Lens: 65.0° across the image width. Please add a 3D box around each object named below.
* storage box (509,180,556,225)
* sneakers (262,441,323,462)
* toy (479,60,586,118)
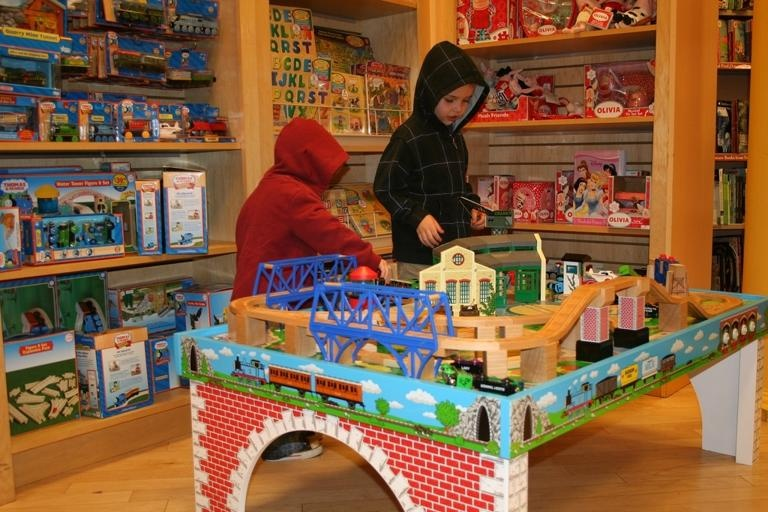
[{"bbox_3d":[0.953,-0.351,4.008,0.369,0.336,0.366,4,6,30],"label":"storage box"},{"bbox_3d":[-0.424,0.901,2.869,0.299,0.111,0.097,0,0,-16],"label":"sneakers"},{"bbox_3d":[0.961,-1.025,3.922,0.511,0.296,0.514,-6,13,-41],"label":"toy"}]
